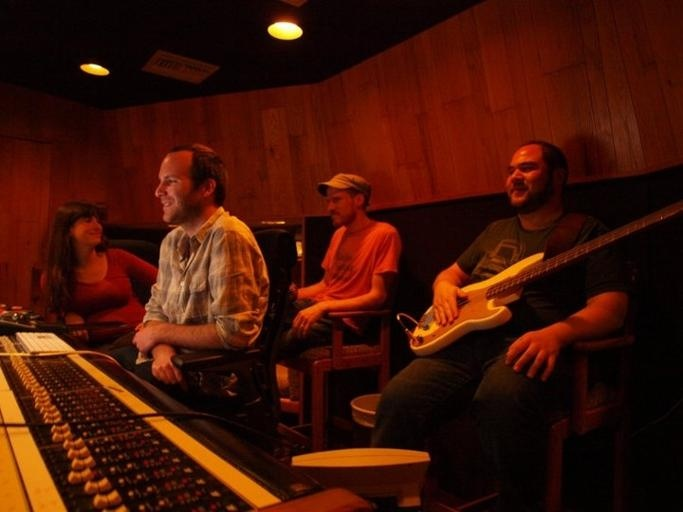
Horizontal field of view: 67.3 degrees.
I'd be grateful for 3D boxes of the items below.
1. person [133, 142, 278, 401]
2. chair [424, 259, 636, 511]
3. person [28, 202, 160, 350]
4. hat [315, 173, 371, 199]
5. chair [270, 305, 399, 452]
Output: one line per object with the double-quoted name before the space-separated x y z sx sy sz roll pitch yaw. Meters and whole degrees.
"person" -0.578 0.114 2.110 0.519 1.102 0.657 -4 9 -38
"chair" 0.794 0.542 2.208 0.561 0.983 0.716 -5 9 -43
"person" -1.570 0.126 3.200 0.645 0.907 0.628 -19 -1 42
"hat" 0.025 -0.467 3.372 0.277 0.114 0.189 4 -5 -25
"chair" 0.003 0.670 3.144 0.522 1.026 0.614 -1 -6 -21
